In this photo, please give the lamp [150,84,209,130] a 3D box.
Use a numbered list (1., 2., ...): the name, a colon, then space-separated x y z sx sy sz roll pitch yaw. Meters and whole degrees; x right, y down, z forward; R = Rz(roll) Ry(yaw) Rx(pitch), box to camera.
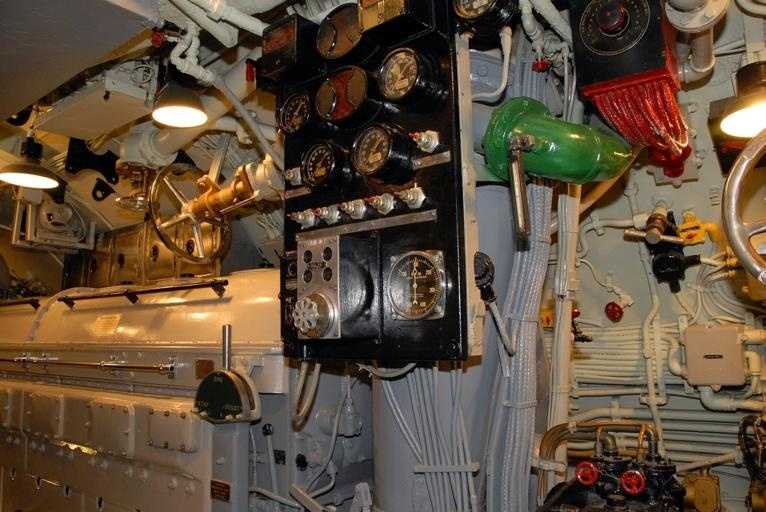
1. lamp: -1.723 -1.250 5.521 0.402 0.234 0.399 7 -18 -35
